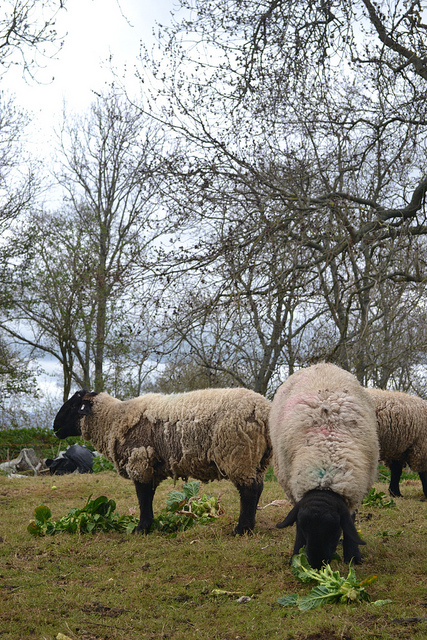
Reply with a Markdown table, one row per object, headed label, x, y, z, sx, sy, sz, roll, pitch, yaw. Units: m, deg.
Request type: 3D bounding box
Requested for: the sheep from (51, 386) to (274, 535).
| label | x | y | z | sx | sy | sz | roll | pitch | yaw |
| --- | --- | --- | --- | --- | --- | --- | --- | --- | --- |
| sheep | -0.584 | 1.595 | 9.517 | 3.041 | 1.588 | 0.880 | -6 | -9 | 29 |
